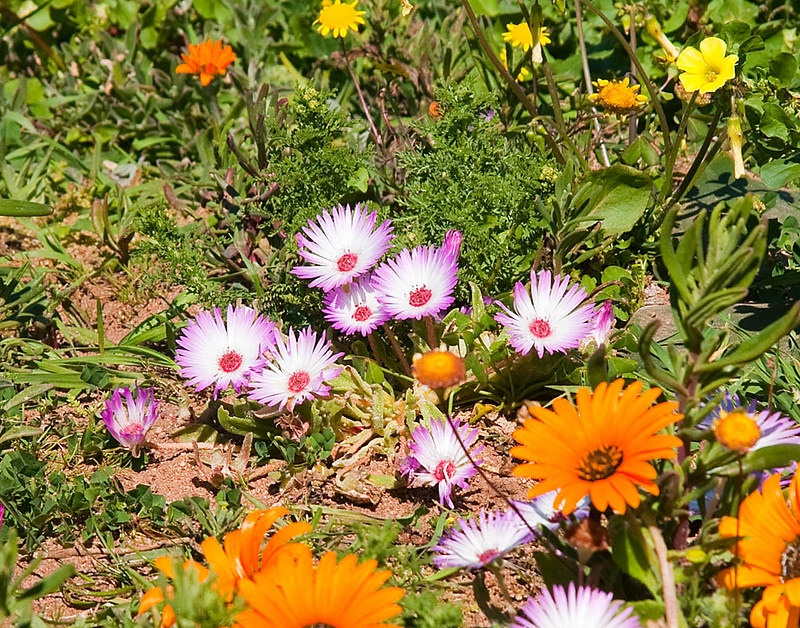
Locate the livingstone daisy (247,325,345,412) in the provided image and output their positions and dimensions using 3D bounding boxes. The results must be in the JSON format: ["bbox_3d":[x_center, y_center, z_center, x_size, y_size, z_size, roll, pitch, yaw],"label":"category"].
[{"bbox_3d":[-0.320,0.188,2.706,0.274,0.293,0.147,-3,100,7],"label":"livingstone daisy"}]

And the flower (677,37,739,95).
[{"bbox_3d":[0.992,-0.790,2.782,0.156,0.156,0.085,11,95,-19],"label":"flower"}]

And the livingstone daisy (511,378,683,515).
[{"bbox_3d":[0.514,0.304,2.175,0.400,0.424,0.215,-4,99,-36],"label":"livingstone daisy"}]

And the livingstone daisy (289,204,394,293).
[{"bbox_3d":[-0.184,-0.217,2.884,0.279,0.128,0.308,-24,60,21],"label":"livingstone daisy"}]

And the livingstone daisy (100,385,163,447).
[{"bbox_3d":[-0.815,0.296,2.748,0.160,0.152,0.121,-12,118,-24],"label":"livingstone daisy"}]

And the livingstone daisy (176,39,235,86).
[{"bbox_3d":[-0.729,-0.954,3.342,0.169,0.199,0.120,-11,94,-2],"label":"livingstone daisy"}]

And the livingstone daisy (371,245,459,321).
[{"bbox_3d":[0.062,-0.102,2.835,0.274,0.317,0.154,-6,59,0],"label":"livingstone daisy"}]

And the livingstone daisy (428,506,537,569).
[{"bbox_3d":[0.230,0.607,2.316,0.237,0.256,0.133,-8,89,2],"label":"livingstone daisy"}]

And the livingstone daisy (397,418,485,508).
[{"bbox_3d":[0.123,0.426,2.574,0.231,0.241,0.120,-26,107,-4],"label":"livingstone daisy"}]
